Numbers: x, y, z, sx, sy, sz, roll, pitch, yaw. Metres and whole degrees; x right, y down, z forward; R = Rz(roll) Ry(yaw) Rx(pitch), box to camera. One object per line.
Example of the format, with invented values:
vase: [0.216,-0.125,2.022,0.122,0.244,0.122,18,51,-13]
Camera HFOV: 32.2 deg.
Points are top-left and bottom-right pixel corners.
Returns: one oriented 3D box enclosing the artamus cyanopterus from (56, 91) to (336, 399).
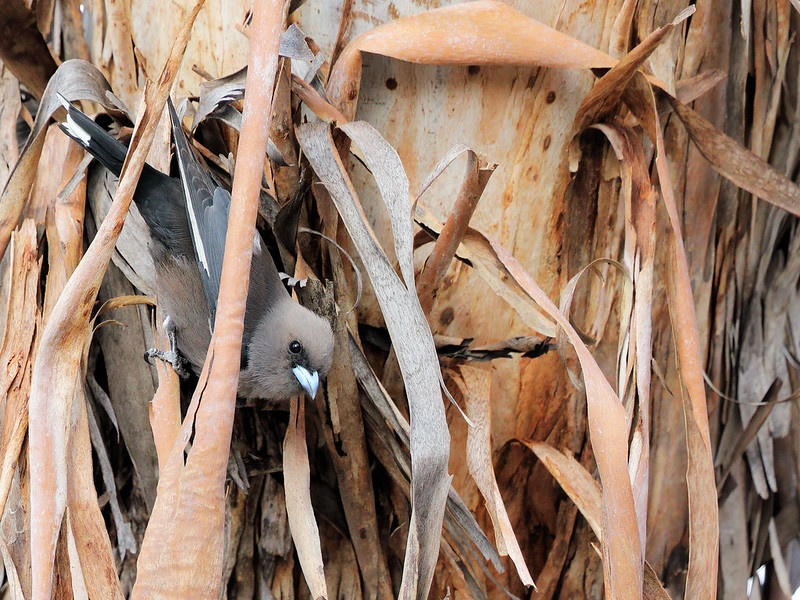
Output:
artamus cyanopterus: [-0.418,-0.053,2.871,0.565,0.665,0.423,3,-28,-20]
